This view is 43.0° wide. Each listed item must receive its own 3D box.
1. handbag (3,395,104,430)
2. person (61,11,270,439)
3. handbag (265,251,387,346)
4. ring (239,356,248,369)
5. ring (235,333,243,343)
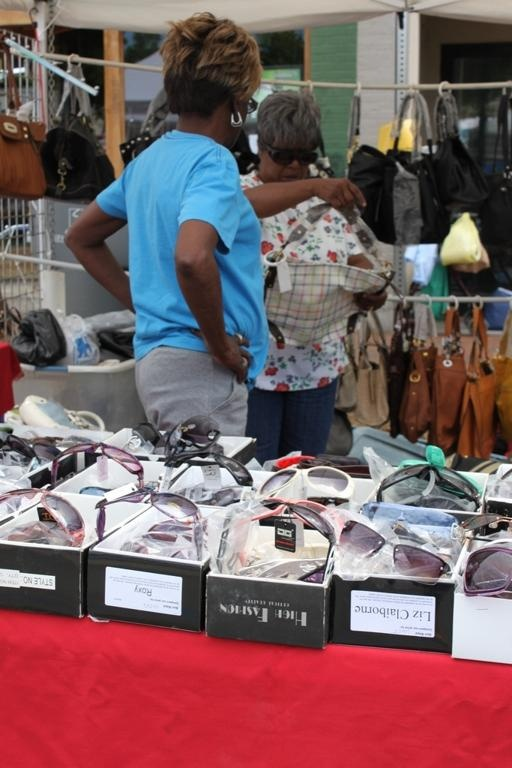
[{"bbox_3d":[-0.781,0.113,2.541,0.217,0.083,0.078,15,18,-19],"label":"handbag"},{"bbox_3d":[-0.160,-0.361,1.619,0.345,0.970,0.651,-9,16,-26],"label":"person"},{"bbox_3d":[0.223,-0.280,2.063,0.326,0.226,0.261,-25,33,-30],"label":"handbag"},{"bbox_3d":[-0.027,-0.050,1.531,0.020,0.022,0.022,-16,27,-17],"label":"ring"},{"bbox_3d":[-0.044,-0.108,1.538,0.008,0.024,0.018,-38,-15,31],"label":"ring"}]
